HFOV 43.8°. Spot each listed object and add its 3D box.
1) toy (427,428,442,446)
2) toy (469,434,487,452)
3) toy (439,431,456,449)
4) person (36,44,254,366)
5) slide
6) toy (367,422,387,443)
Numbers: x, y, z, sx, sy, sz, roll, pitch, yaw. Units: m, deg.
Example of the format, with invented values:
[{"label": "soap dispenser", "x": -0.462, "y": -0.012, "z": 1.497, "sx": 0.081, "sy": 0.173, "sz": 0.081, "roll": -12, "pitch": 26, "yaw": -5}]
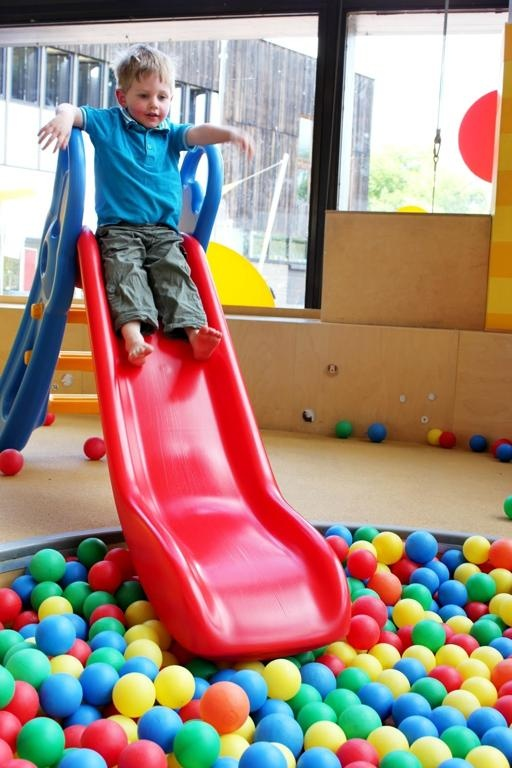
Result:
[{"label": "toy", "x": 0.828, "y": 0.250, "z": 2.979, "sx": 0.068, "sy": 0.083, "sz": 0.070, "roll": 5, "pitch": 7, "yaw": 25}, {"label": "toy", "x": 1.007, "y": 0.272, "z": 2.897, "sx": 0.083, "sy": 0.078, "sz": 0.064, "roll": 6, "pitch": 11, "yaw": 18}, {"label": "toy", "x": 0.880, "y": 0.259, "z": 2.951, "sx": 0.072, "sy": 0.074, "sz": 0.080, "roll": 7, "pitch": 12, "yaw": 22}, {"label": "person", "x": -0.302, "y": -0.553, "z": 1.842, "sx": 0.476, "sy": 0.859, "sz": 0.475, "roll": 8, "pitch": 12, "yaw": 22}, {"label": "slide", "x": -0.165, "y": 0.093, "z": 1.485, "sx": 0.328, "sy": 0.606, "sz": 1.113, "roll": 0, "pitch": 19, "yaw": -23}, {"label": "toy", "x": 0.574, "y": 0.234, "z": 3.036, "sx": 0.094, "sy": 0.089, "sz": 0.106, "roll": 4, "pitch": 11, "yaw": 8}]
